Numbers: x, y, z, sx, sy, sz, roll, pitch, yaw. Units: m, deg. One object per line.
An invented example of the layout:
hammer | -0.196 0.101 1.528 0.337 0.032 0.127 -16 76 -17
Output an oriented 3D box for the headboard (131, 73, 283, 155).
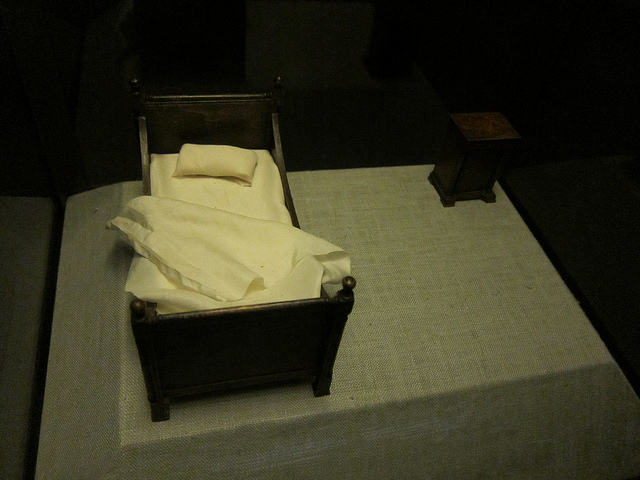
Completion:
headboard | -0.853 -0.938 3.834 0.828 0.629 0.059 -2 50 -7

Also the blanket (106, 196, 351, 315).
blanket | -0.573 0.131 3.047 1.415 0.261 0.784 8 49 -1

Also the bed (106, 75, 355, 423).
bed | -0.646 -0.065 3.483 1.278 1.137 2.040 -3 42 -15
